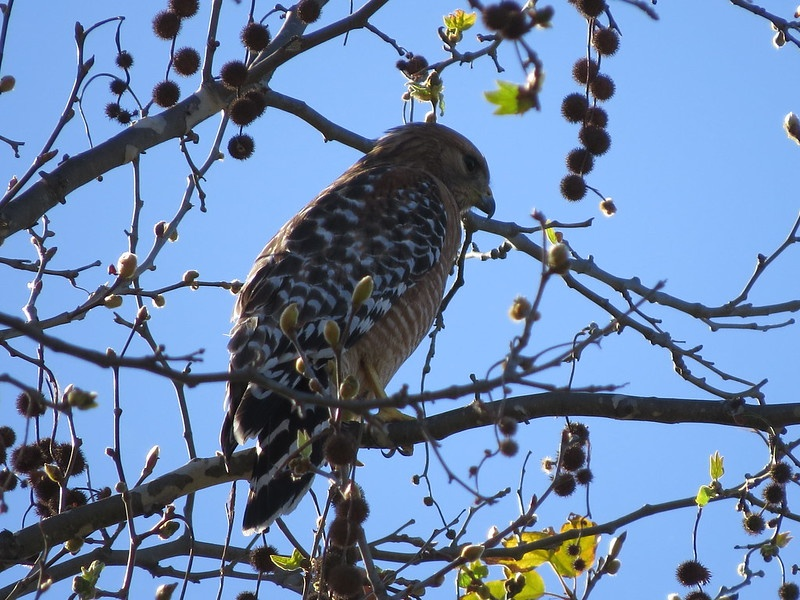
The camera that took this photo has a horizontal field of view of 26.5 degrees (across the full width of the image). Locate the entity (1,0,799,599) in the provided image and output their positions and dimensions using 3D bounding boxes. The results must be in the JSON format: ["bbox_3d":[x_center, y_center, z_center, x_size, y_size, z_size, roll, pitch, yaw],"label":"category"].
[{"bbox_3d":[-0.234,0.199,7.081,2.060,1.752,0.802,-41,-29,-21],"label":"entity"}]
